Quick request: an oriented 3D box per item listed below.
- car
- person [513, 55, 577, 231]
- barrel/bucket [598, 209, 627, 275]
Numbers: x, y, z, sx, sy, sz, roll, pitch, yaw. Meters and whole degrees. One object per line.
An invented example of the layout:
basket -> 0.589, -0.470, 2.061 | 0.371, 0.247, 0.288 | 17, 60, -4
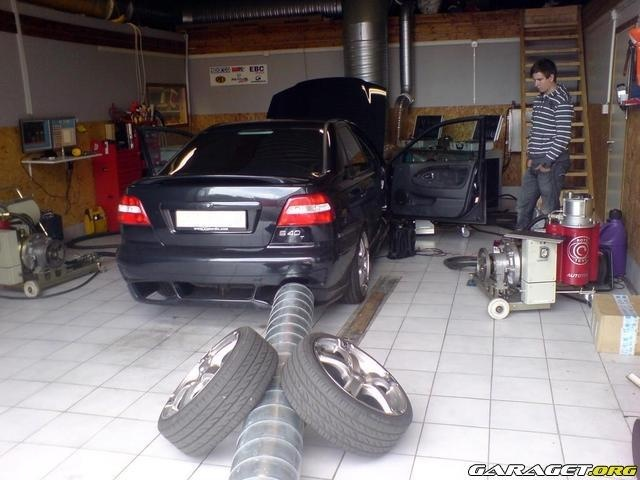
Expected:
car -> -0.112, -0.782, 5.326 | 1.859, 1.886, 4.639 | 3, 15, 18
person -> 2.515, -1.054, 5.042 | 0.498, 1.915, 0.528 | 4, 15, 24
barrel/bucket -> 2.887, 0.079, 4.468 | 0.240, 0.703, 0.567 | 8, 17, 38
